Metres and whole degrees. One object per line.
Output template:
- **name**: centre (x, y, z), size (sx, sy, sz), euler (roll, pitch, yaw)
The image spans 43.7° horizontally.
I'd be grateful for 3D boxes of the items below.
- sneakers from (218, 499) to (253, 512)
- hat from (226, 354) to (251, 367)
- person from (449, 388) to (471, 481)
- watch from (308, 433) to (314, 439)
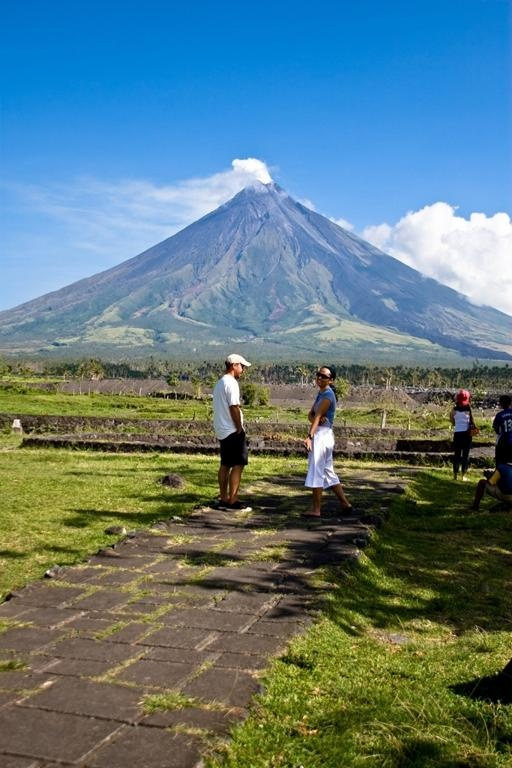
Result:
- **sneakers**: centre (-0.253, 1.585, 8.264), size (0.426, 0.175, 0.153), euler (0, 0, 3)
- **hat**: centre (-0.205, -0.312, 8.370), size (0.299, 0.143, 0.192), euler (-3, 8, -27)
- **person**: centre (4.250, 1.017, 13.141), size (0.438, 1.469, 1.731), euler (3, -1, 18)
- **watch**: centre (0.673, 0.625, 7.672), size (0.071, 0.065, 0.070), euler (0, 0, 1)
